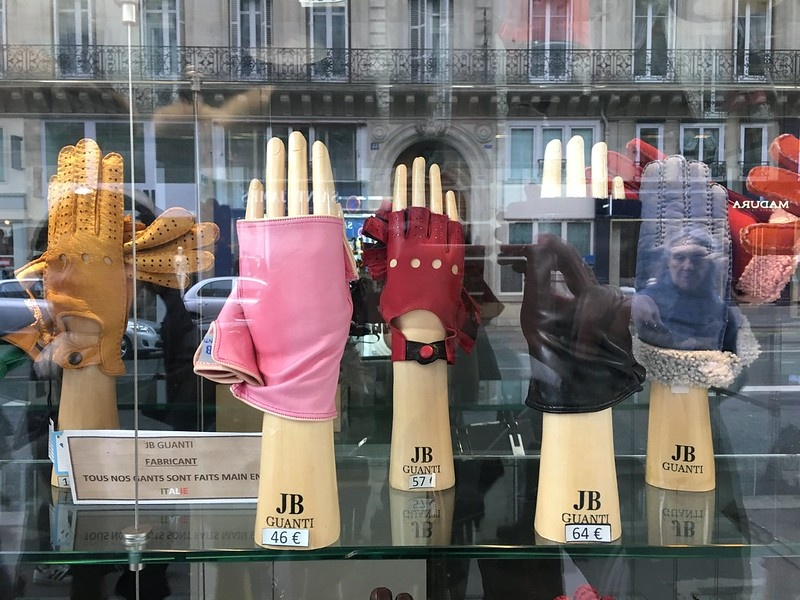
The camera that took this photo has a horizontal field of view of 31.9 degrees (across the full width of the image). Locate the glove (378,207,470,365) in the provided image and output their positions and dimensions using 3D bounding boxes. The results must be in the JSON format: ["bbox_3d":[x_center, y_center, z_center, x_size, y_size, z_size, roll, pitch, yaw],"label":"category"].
[{"bbox_3d":[0.054,-0.033,2.545,0.182,0.277,0.084,-2,3,-12],"label":"glove"}]

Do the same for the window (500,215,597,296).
[{"bbox_3d":[0.269,-0.079,2.474,0.171,0.138,0.007,1,-3,24],"label":"window"}]

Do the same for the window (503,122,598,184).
[{"bbox_3d":[0.273,-0.276,2.588,0.202,0.122,0.014,-6,22,-29],"label":"window"}]

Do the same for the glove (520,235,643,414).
[{"bbox_3d":[0.314,0.037,2.436,0.208,0.308,0.088,-1,3,2],"label":"glove"}]

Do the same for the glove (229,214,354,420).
[{"bbox_3d":[-0.179,0.027,2.273,0.270,0.305,0.100,-2,0,-2],"label":"glove"}]

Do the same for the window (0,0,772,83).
[{"bbox_3d":[-0.001,-0.465,2.536,1.439,0.160,0.110,-1,3,3],"label":"window"}]

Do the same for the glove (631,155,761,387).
[{"bbox_3d":[0.517,-0.053,2.477,0.212,0.398,0.080,-1,3,9],"label":"glove"}]

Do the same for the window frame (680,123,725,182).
[{"bbox_3d":[0.553,-0.275,2.565,0.089,0.106,0.012,5,11,39],"label":"window frame"}]

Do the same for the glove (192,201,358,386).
[{"bbox_3d":[-0.215,-0.008,2.302,0.322,0.267,0.124,2,-7,10],"label":"glove"}]
